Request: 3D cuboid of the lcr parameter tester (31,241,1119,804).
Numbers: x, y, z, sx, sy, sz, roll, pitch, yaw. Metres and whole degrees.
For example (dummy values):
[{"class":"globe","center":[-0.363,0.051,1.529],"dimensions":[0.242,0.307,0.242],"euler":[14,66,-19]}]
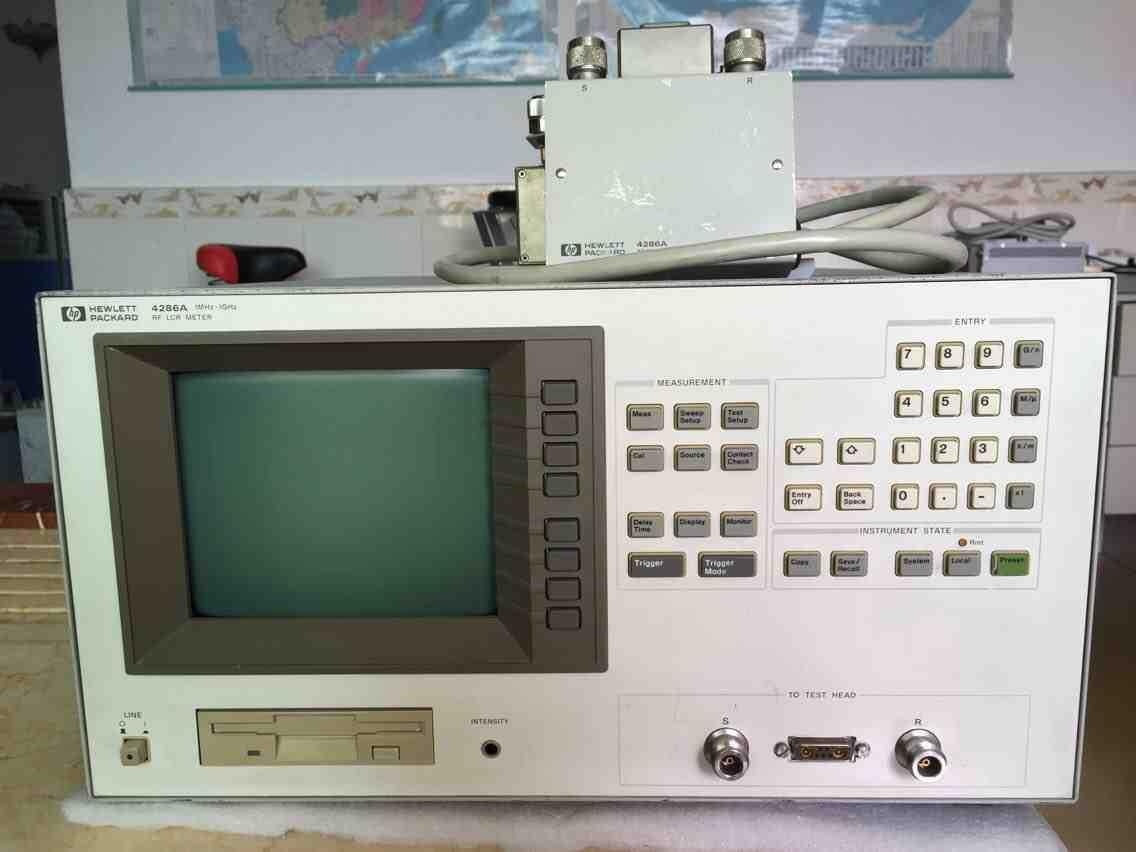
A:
[{"class":"lcr parameter tester","center":[0.013,0.112,1.061],"dimensions":[0.981,0.516,0.056],"euler":[-3,8,3]}]
